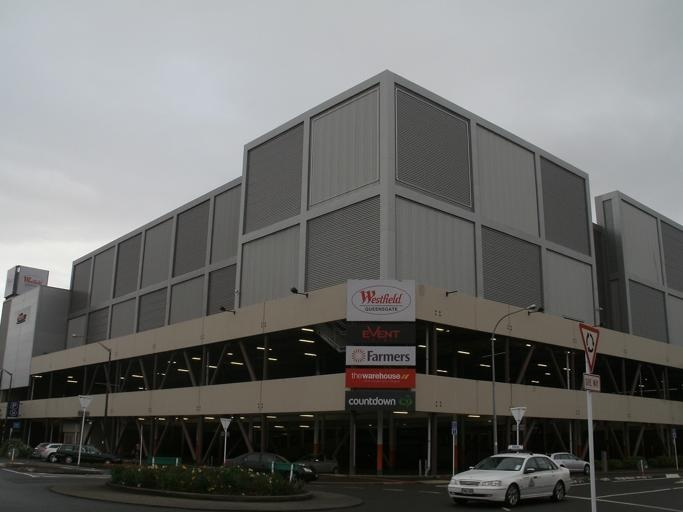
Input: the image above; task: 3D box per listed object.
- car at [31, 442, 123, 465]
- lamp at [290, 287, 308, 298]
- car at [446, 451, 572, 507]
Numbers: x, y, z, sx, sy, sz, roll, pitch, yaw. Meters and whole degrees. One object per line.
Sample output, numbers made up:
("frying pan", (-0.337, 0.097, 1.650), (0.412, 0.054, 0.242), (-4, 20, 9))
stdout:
("car", (-22.130, 16.481, 48.668), (6.415, 1.596, 3.180), (8, -22, -18))
("lamp", (-3.242, 2.837, 44.489), (1.456, 0.668, 0.297), (18, -25, -32))
("car", (6.940, 9.197, 24.108), (5.292, 2.035, 1.647), (16, -26, -35))
